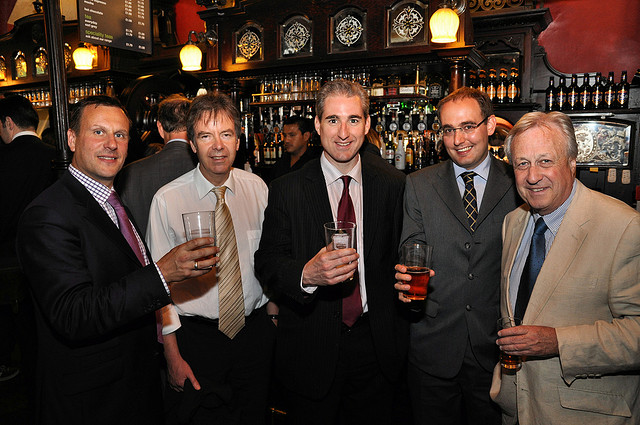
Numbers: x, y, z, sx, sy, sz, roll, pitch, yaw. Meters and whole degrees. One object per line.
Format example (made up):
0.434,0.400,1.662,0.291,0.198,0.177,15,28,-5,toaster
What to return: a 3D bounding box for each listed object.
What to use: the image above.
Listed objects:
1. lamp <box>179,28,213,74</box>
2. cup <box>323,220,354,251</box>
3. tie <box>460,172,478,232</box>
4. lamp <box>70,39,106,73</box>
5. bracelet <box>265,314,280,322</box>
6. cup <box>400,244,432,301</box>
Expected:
-1.667,-2.183,6.801,0.458,0.530,0.716,-5,13,-10,lamp
0.108,0.126,2.779,0.163,0.167,0.155,0,10,0,cup
1.012,-0.075,3.362,0.096,0.430,0.072,2,-29,6,tie
-3.640,-2.408,7.527,0.321,0.430,0.320,5,18,6,lamp
-0.330,0.736,3.526,0.069,0.068,0.074,-1,1,-12,bracelet
0.572,0.367,2.989,0.187,0.372,0.123,1,14,17,cup
